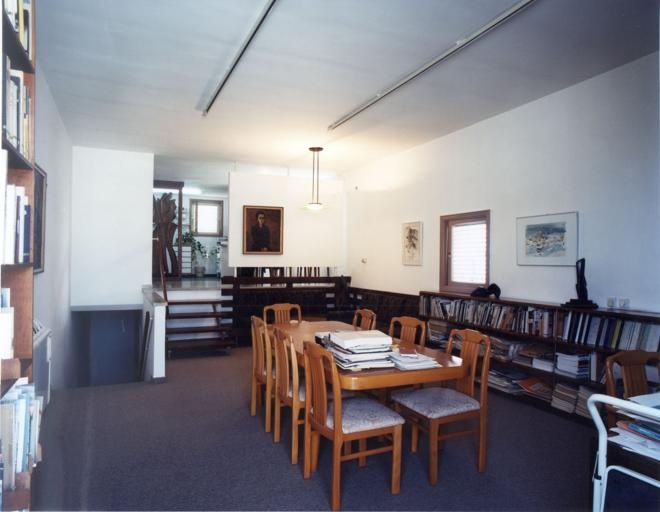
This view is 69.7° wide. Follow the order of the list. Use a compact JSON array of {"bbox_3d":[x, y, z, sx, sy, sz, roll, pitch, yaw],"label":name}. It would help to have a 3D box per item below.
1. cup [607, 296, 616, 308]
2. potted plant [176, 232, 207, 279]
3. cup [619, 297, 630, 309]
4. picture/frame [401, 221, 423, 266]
[{"bbox_3d":[3.107,0.516,5.228,0.080,0.107,0.093,3,4,29],"label":"cup"},{"bbox_3d":[-4.464,0.042,15.392,1.101,2.163,2.071,0,1,-16],"label":"potted plant"},{"bbox_3d":[3.190,0.523,5.154,0.089,0.099,0.096,-1,-3,0],"label":"cup"},{"bbox_3d":[1.429,-0.200,8.187,0.100,1.090,0.732,0,0,-19],"label":"picture/frame"}]
